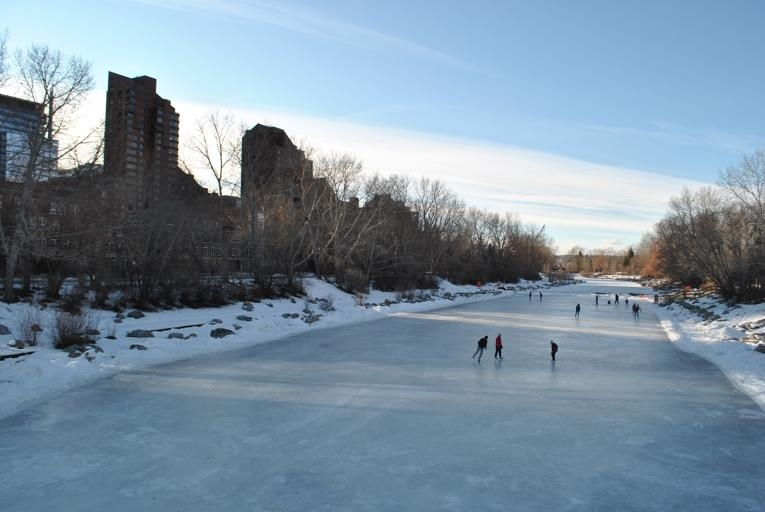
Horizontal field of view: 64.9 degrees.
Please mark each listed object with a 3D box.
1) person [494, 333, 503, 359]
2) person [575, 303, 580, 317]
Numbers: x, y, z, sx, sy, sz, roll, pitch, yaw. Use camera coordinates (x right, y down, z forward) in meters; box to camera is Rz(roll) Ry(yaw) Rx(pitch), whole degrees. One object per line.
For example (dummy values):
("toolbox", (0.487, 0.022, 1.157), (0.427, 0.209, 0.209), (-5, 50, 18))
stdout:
("person", (6.060, 4.673, 31.371), (0.431, 1.380, 1.508), (2, 1, 11))
("person", (16.883, 4.678, 52.080), (0.213, 0.955, 1.430), (2, 1, 26))
